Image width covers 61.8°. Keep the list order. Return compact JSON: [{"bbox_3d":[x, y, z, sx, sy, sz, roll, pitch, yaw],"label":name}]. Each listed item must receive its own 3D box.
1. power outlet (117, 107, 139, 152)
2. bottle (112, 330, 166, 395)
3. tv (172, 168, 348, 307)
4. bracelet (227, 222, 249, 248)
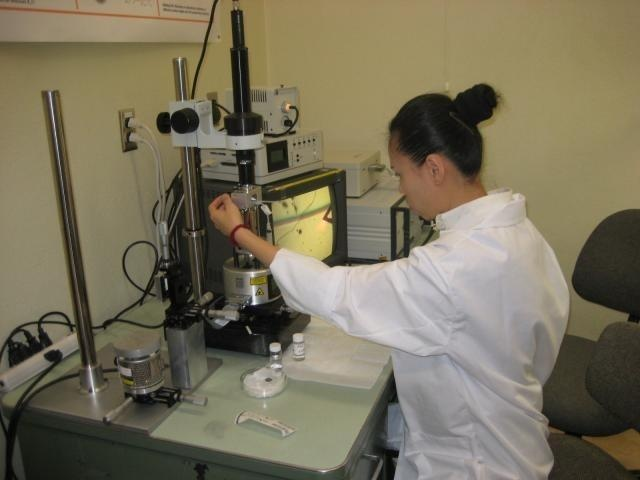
[{"bbox_3d":[-0.722,-0.424,2.044,0.039,0.164,0.085,3,17,24],"label":"power outlet"},{"bbox_3d":[-0.513,0.349,1.612,0.152,0.181,0.163,-6,19,-7],"label":"bottle"},{"bbox_3d":[-0.217,-0.134,2.158,0.484,0.534,0.695,3,13,17],"label":"tv"},{"bbox_3d":[-0.252,-0.014,1.602,0.045,0.064,0.025,21,-31,-11],"label":"bracelet"}]
